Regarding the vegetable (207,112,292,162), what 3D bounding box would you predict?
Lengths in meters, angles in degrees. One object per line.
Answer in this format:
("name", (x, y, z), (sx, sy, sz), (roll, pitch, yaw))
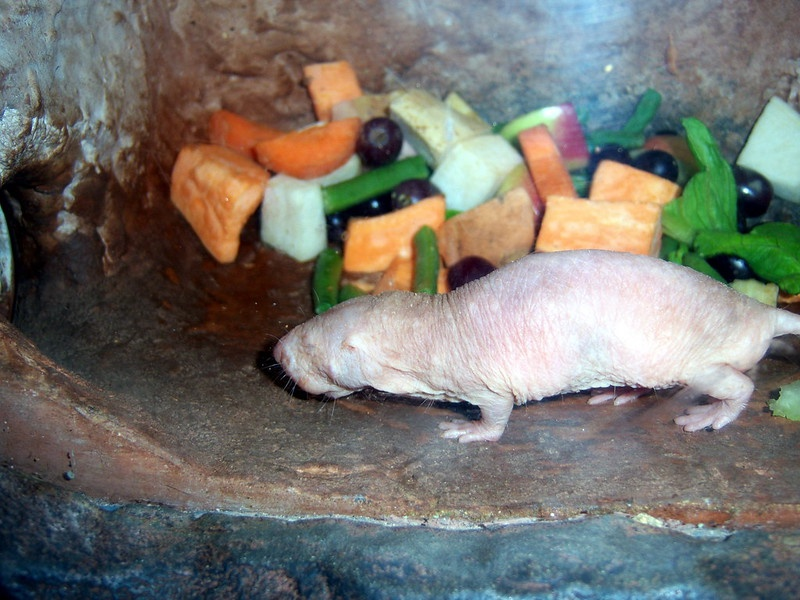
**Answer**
("vegetable", (-0.785, -0.831, 4.770), (0.350, 0.116, 0.187), (15, 59, -16))
